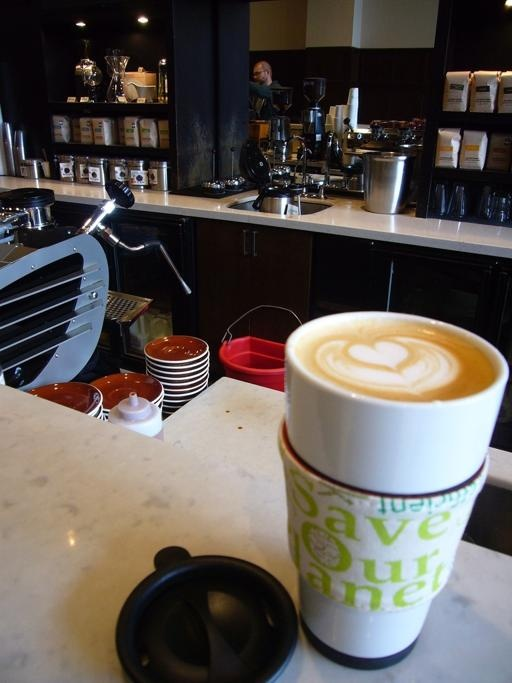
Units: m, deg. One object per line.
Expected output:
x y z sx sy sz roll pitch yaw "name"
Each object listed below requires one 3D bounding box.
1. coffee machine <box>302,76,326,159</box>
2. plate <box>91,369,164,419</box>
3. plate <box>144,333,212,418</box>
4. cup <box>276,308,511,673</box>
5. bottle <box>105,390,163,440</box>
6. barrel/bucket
0.359 -1.350 3.082 0.138 0.453 0.397 3 21 7 "coffee machine"
-0.239 0.087 0.935 0.088 0.035 0.091 -11 32 -33 "plate"
-0.179 0.070 1.316 0.170 0.205 0.181 -10 28 -21 "plate"
0.085 0.109 0.348 0.128 0.238 0.172 11 23 26 "cup"
-0.174 0.092 0.718 0.060 0.075 0.061 3 20 -1 "bottle"
0.017 0.003 1.594 0.235 0.341 0.193 12 26 17 "barrel/bucket"
